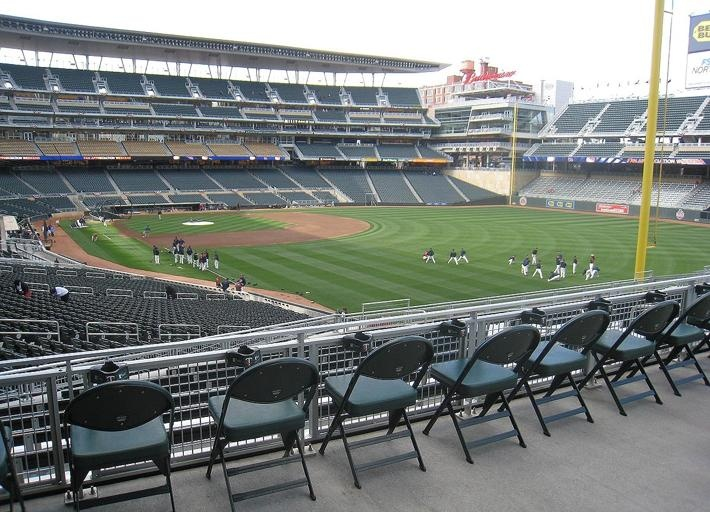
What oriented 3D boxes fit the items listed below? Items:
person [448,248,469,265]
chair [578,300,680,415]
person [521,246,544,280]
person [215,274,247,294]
[{"bbox_3d":[5.769,0.056,30.389,1.390,0.876,0.316,4,30,14],"label":"person"},{"bbox_3d":[3.580,1.240,7.369,1.060,1.202,1.108,3,2,-17],"label":"chair"},{"bbox_3d":[8.952,0.409,27.543,1.576,1.540,0.539,0,6,-3],"label":"person"},{"bbox_3d":[-5.809,1.311,25.174,1.457,0.361,0.854,3,12,8],"label":"person"}]
